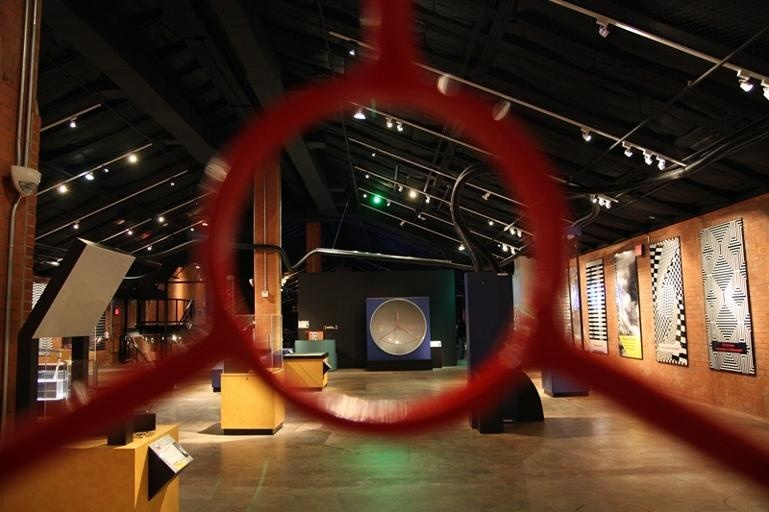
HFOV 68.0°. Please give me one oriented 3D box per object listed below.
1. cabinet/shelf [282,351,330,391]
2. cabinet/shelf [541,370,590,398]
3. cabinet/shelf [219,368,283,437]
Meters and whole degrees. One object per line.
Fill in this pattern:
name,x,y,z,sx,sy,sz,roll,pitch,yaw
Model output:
cabinet/shelf,-1.826,2.791,13.687,1.152,1.014,1.581,-2,-4,-7
cabinet/shelf,3.710,2.696,11.825,0.562,0.393,0.608,-1,-5,16
cabinet/shelf,-2.204,2.498,9.699,0.806,1.118,1.553,-1,-9,2
